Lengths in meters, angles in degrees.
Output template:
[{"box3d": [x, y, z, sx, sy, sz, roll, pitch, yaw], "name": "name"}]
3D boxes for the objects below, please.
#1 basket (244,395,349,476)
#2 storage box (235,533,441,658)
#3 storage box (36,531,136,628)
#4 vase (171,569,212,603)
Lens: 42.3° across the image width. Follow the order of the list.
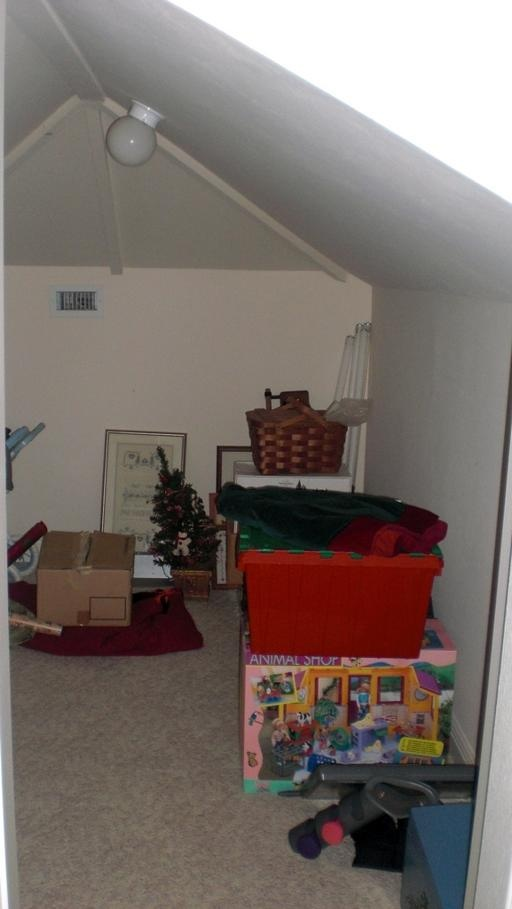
[{"box3d": [0.234, -0.114, 3.418, 0.435, 0.322, 0.379, -1, 11, -3], "name": "basket"}, {"box3d": [0.274, 0.454, 2.179, 0.510, 0.276, 0.370, 1, -3, -2], "name": "storage box"}, {"box3d": [-0.884, 0.605, 3.470, 0.448, 0.345, 0.472, 6, 20, -7], "name": "storage box"}, {"box3d": [-0.367, 0.751, 3.905, 0.270, 0.212, 0.164, 1, 1, -2], "name": "vase"}]
